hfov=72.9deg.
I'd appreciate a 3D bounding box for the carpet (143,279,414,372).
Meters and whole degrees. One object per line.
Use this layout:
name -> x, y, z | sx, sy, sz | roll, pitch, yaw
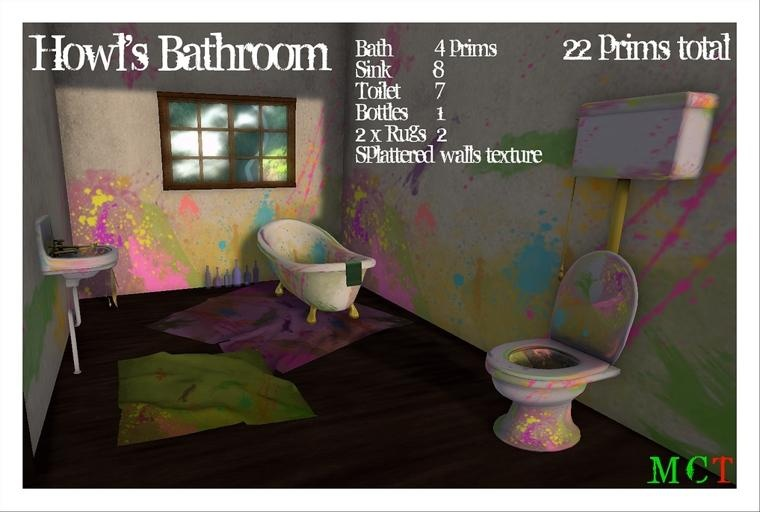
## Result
carpet -> -0.936, 0.610, 4.795 | 1.889, 0.149, 1.433 | 6, 16, 28
